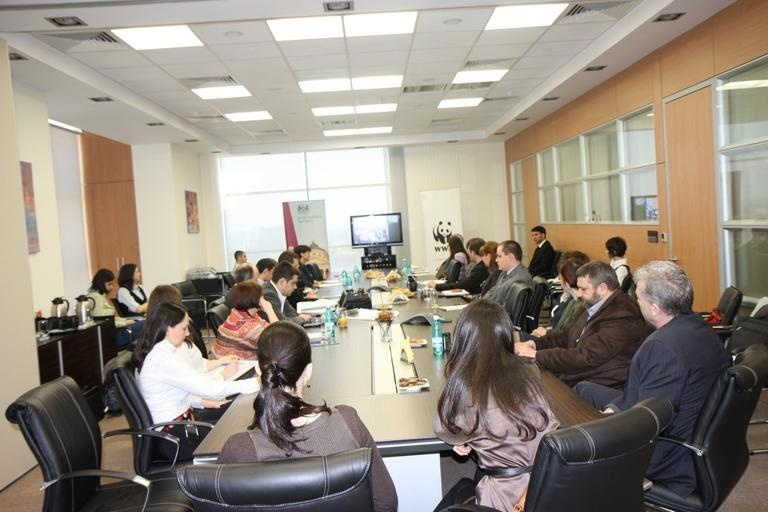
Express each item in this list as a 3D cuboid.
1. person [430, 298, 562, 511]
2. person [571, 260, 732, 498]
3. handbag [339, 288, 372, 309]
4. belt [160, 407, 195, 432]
[{"bbox_3d":[0.605,0.810,2.816,0.673,1.106,0.279,-3,3,18],"label":"person"},{"bbox_3d":[1.772,0.752,3.305,0.762,1.398,0.658,-2,4,38],"label":"person"},{"bbox_3d":[-0.348,0.531,6.231,0.305,0.295,0.225,1,-18,-3],"label":"handbag"},{"bbox_3d":[-1.514,1.191,3.763,0.136,0.056,0.220,-10,10,24],"label":"belt"}]
